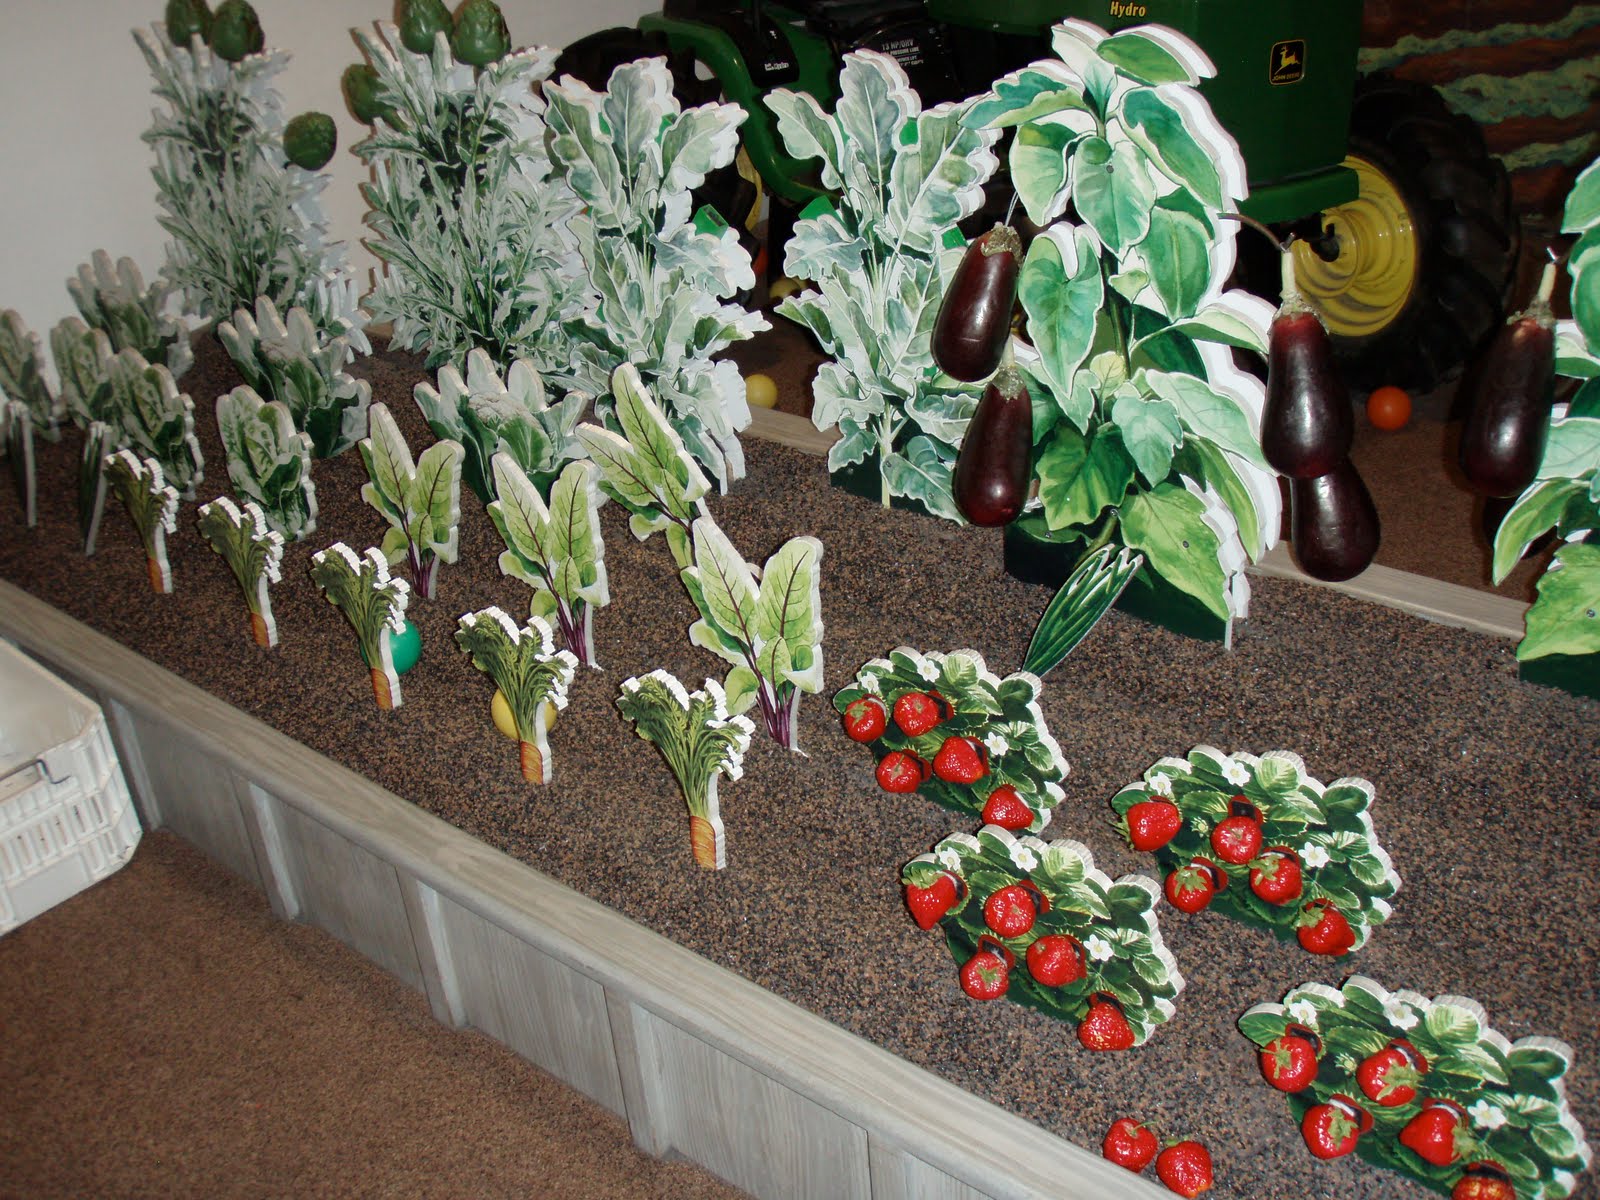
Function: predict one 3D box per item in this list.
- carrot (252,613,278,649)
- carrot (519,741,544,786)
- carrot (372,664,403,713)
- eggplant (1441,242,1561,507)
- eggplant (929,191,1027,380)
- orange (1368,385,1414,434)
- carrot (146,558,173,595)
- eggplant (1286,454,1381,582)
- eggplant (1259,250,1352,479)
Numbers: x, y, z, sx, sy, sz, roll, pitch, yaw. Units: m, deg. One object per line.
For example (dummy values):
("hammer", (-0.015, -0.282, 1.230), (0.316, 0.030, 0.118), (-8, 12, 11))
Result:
("carrot", (-1.055, 0.062, 2.504), (0.047, 0.052, 0.017), (24, 32, 36))
("carrot", (-0.457, 0.277, 2.167), (0.032, 0.060, 0.046), (-2, 57, -3))
("carrot", (-0.771, 0.151, 2.349), (0.055, 0.089, 0.064), (-11, 30, -8))
("eggplant", (0.954, -0.293, 1.681), (0.096, 0.317, 0.103), (0, 24, 1))
("eggplant", (0.262, -0.443, 1.851), (0.109, 0.256, 0.131), (-7, 33, -22))
("orange", (1.635, -0.521, 3.550), (0.112, 0.120, 0.114), (-16, 10, -39))
("carrot", (-1.341, -0.047, 2.659), (0.036, 0.073, 0.040), (19, 36, 23))
("eggplant", (0.743, -0.108, 1.781), (0.080, 0.194, 0.081), (23, 82, 31))
("eggplant", (0.657, -0.306, 1.662), (0.110, 0.306, 0.113), (7, 27, 43))
